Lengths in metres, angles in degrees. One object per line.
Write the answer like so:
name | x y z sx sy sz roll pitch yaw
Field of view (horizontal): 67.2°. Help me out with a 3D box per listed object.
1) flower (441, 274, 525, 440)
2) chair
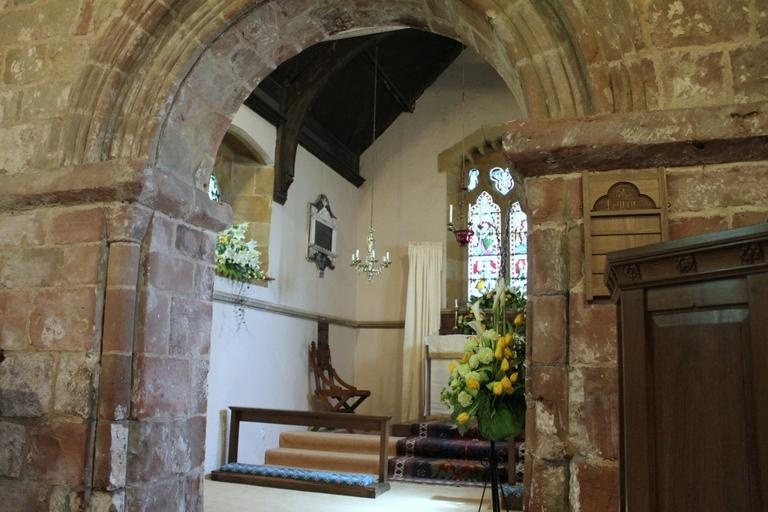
flower | 0.553 0.551 3.023 0.330 0.778 0.473 10 -18 -39
chair | -0.607 1.741 8.348 0.800 1.532 0.723 -2 -10 10
